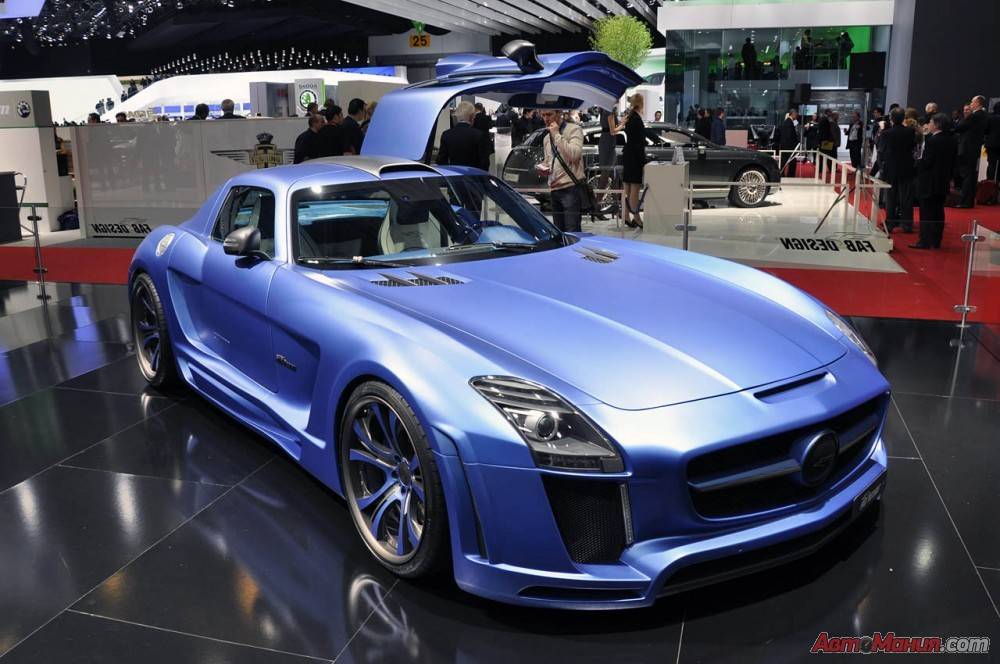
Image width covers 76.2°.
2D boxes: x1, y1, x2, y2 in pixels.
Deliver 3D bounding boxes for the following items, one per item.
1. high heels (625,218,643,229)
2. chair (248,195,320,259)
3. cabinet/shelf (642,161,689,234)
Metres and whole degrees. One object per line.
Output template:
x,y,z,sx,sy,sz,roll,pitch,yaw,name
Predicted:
1.520,-1.220,7.274,0.078,0.082,0.214,-10,19,-32,high heels
-1.504,-0.726,4.295,0.162,0.383,0.581,-9,14,-38,chair
1.994,-1.587,7.702,0.598,0.897,0.608,5,2,34,cabinet/shelf
